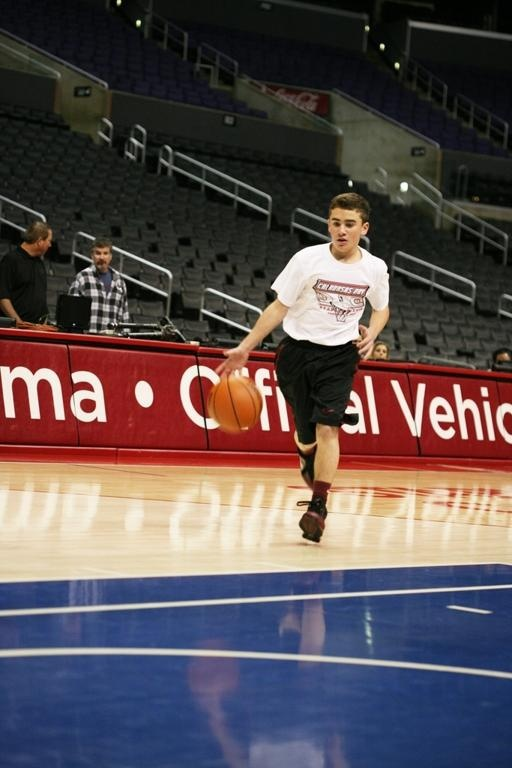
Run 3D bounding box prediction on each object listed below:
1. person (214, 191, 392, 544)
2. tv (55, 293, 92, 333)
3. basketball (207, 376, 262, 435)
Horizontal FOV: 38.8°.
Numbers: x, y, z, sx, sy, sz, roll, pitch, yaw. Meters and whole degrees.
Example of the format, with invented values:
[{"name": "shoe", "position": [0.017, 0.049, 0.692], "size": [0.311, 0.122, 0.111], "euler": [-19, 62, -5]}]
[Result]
[{"name": "person", "position": [0.223, -0.072, 3.340], "size": [0.550, 1.624, 0.820], "euler": [12, 10, 15]}, {"name": "tv", "position": [-1.518, -0.583, 6.036], "size": [0.422, 0.399, 0.135], "euler": [0, 7, -26]}, {"name": "basketball", "position": [-0.068, 0.053, 3.519], "size": [0.265, 0.306, 0.257], "euler": [-4, 27, 13]}]
